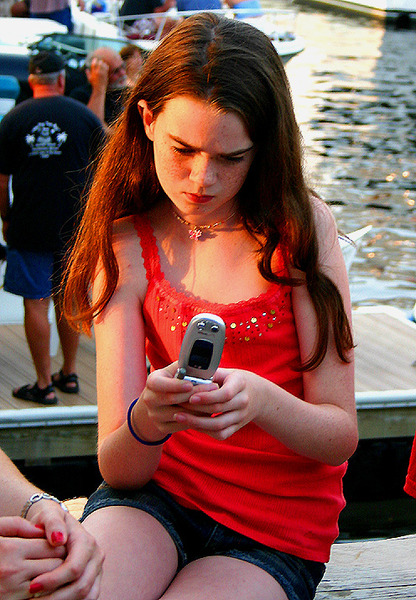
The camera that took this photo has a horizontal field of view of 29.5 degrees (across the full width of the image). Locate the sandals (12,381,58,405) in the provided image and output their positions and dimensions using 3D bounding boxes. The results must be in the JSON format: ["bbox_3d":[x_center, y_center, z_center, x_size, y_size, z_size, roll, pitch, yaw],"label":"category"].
[{"bbox_3d":[-0.844,0.463,3.860,0.221,0.082,0.092,11,14,6],"label":"sandals"}]

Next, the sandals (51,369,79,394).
[{"bbox_3d":[-0.721,0.410,3.972,0.081,0.066,0.170,-6,18,-26],"label":"sandals"}]

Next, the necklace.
[{"bbox_3d":[-0.020,-0.218,1.945,0.175,0.045,0.070,7,42,20],"label":"necklace"}]
